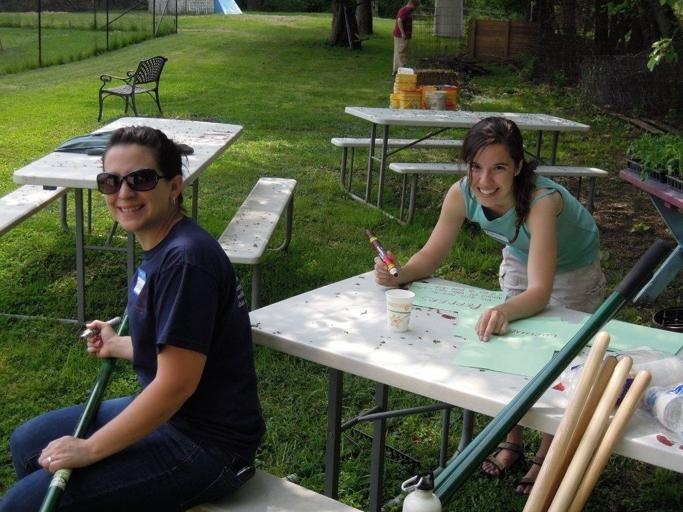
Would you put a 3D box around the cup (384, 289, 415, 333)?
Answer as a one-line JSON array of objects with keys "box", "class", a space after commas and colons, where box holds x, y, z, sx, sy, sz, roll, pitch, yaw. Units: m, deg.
[{"box": [0.229, 0.216, 2.278, 0.152, 0.156, 0.149, 1, 5, 0], "class": "cup"}]

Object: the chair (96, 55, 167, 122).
[{"box": [-4.036, -3.261, 11.030, 1.132, 1.244, 1.027, 6, 24, 1], "class": "chair"}]

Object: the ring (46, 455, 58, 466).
[{"box": [-0.928, 0.651, 1.819, 0.019, 0.009, 0.025, 1, 35, -4], "class": "ring"}]
